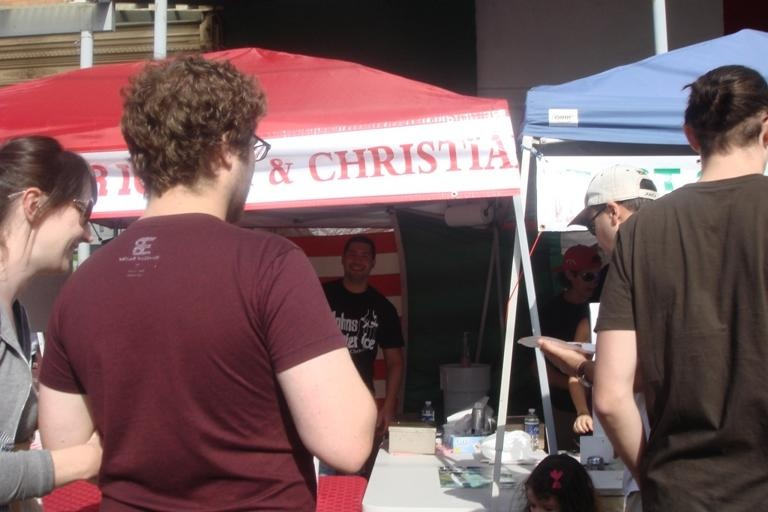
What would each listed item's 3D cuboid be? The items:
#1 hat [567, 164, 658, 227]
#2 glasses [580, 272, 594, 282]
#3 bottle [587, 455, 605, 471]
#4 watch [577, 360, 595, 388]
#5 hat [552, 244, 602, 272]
[{"bbox_3d":[1.108,-0.292,4.357,0.349,0.189,0.256,-5,-4,35],"label":"hat"},{"bbox_3d":[1.407,0.140,6.176,0.069,0.067,0.023,4,-20,0],"label":"glasses"},{"bbox_3d":[1.068,1.044,4.531,0.068,0.054,0.067,0,2,0],"label":"bottle"},{"bbox_3d":[0.910,0.534,4.068,0.071,0.092,0.108,-1,-11,-22],"label":"watch"},{"bbox_3d":[1.357,0.021,6.246,0.254,0.139,0.166,0,5,39],"label":"hat"}]
